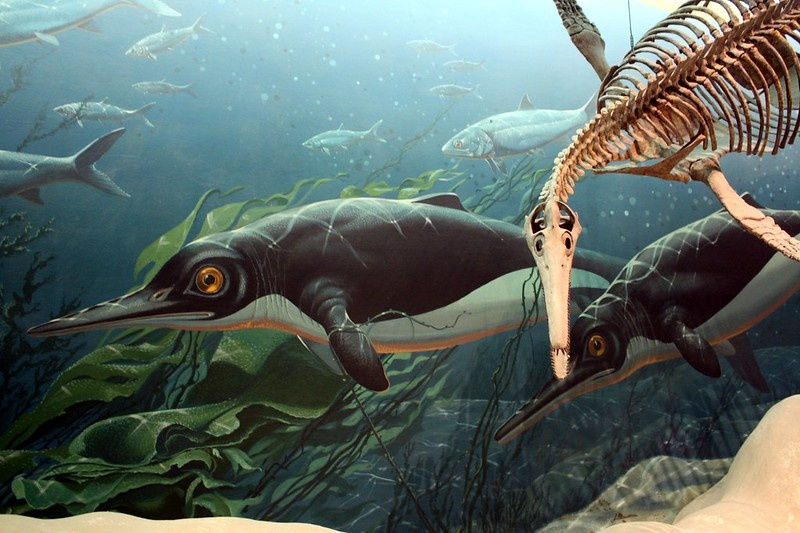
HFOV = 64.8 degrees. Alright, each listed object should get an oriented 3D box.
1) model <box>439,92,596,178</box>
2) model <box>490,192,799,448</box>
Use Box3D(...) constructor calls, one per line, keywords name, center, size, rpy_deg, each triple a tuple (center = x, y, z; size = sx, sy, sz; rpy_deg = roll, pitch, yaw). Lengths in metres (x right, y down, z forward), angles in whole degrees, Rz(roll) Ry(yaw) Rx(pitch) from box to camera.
Box3D(name="model", center=(1.021, -1.134, 5.358), size=(1.655, 0.489, 0.329), rpy_deg=(-15, 20, -19))
Box3D(name="model", center=(2.064, 0.348, 5.376), size=(3.647, 1.095, 1.103), rpy_deg=(-24, 12, -7))
